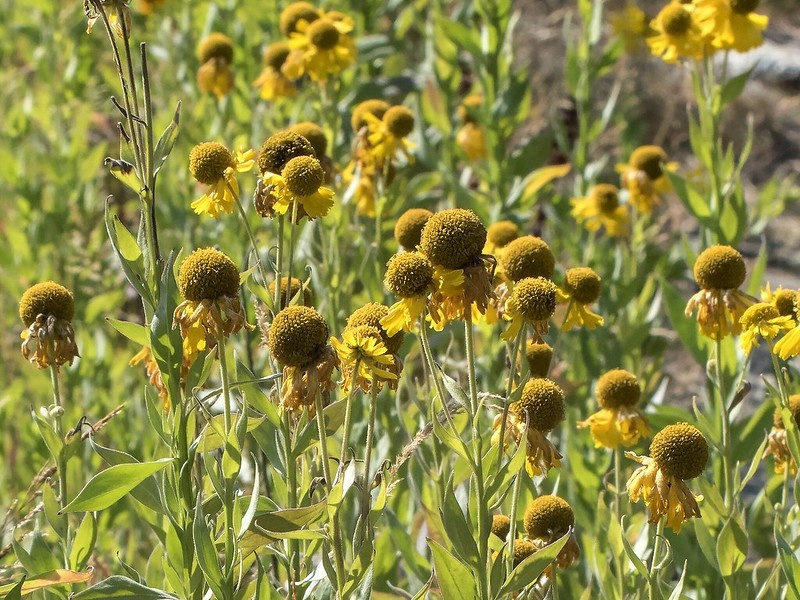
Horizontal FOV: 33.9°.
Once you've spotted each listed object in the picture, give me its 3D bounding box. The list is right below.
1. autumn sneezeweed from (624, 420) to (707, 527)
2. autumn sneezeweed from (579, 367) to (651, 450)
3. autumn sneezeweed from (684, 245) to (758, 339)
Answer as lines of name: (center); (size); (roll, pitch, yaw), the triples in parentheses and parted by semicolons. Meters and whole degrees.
autumn sneezeweed: (1.001, 0.678, 4.941); (0.303, 0.332, 0.298); (-1, 33, 13)
autumn sneezeweed: (0.876, 0.426, 5.281); (0.203, 0.308, 0.284); (-8, -3, -23)
autumn sneezeweed: (1.268, -0.026, 5.153); (0.239, 0.411, 0.243); (6, 19, 42)
